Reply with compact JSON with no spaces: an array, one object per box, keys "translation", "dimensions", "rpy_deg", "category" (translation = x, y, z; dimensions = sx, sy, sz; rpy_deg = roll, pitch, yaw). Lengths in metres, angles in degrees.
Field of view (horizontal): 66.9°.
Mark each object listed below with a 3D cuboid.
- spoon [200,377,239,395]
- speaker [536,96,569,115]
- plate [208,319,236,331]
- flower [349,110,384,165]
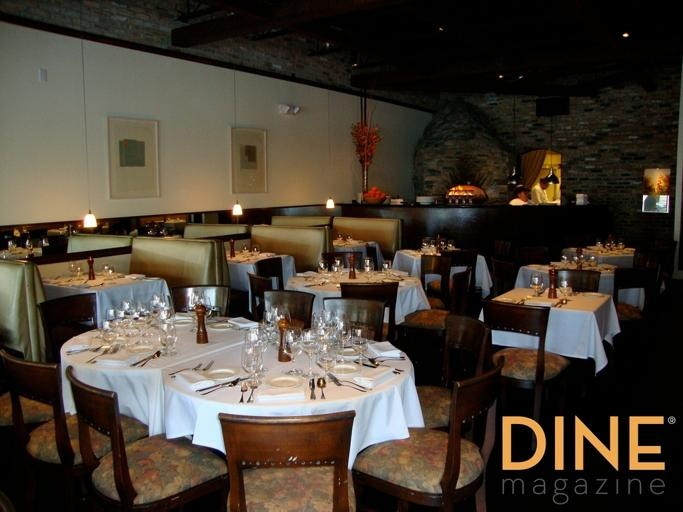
[{"translation":[-0.703,0.747,2.950],"dimensions":[0.224,0.028,0.031],"rpy_deg":[-8,36,-42],"category":"spoon"},{"translation":[5.183,-3.641,12.753],"dimensions":[0.751,0.446,0.524],"rpy_deg":[5,8,21],"category":"speaker"},{"translation":[-0.926,0.534,3.917],"dimensions":[0.184,0.033,0.234],"rpy_deg":[-4,7,-20],"category":"plate"},{"translation":[0.537,-2.511,11.864],"dimensions":[0.605,0.981,0.624],"rpy_deg":[-11,19,-34],"category":"flower"}]
